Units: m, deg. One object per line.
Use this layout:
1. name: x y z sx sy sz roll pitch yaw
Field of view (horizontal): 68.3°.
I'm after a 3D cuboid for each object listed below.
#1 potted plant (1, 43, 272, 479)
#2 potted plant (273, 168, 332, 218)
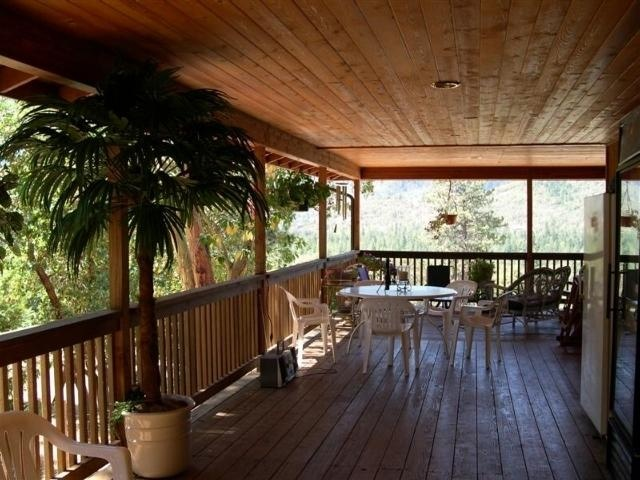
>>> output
1. potted plant: -1.169 -0.013 3.012 1.409 2.420 0.942 1 4 0
2. potted plant: -0.371 -0.756 7.642 0.741 0.559 0.769 1 2 3
